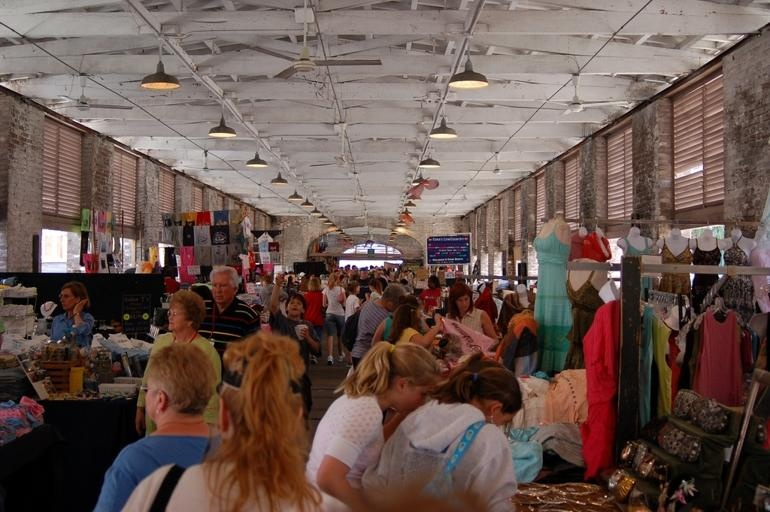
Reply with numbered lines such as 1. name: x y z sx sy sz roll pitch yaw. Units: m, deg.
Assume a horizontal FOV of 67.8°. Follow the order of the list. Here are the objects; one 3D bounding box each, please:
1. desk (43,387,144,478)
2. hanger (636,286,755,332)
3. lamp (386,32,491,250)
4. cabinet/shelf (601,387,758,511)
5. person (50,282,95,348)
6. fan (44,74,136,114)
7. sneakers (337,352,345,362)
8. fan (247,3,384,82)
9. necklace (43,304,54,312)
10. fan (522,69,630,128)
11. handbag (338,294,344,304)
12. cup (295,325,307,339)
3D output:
1. desk: -2.598 1.582 5.300 0.728 0.643 0.688 0 -3 0
2. hanger: 3.218 0.547 5.939 0.816 0.235 0.575 -2 1 8
3. lamp: 1.141 -1.973 11.552 0.800 0.746 4.897 7 -41 -5
4. cabinet/shelf: 2.205 1.464 4.344 0.458 0.925 0.699 19 -1 -24
5. person: -3.504 0.647 6.497 0.662 0.689 0.335 -3 -3 43
6. fan: -6.292 -3.287 12.100 1.330 0.496 1.296 0 -8 -9
7. sneakers: -0.859 1.985 11.290 0.085 0.107 0.256 1 8 6
8. fan: -1.038 -2.989 8.453 1.913 0.760 1.562 0 -6 6
9. necklace: -4.552 0.704 7.783 0.104 0.059 0.133 -1 -11 -18
10. fan: 3.587 -3.030 10.746 1.444 0.585 1.172 -10 20 -32
11. handbag: -0.870 0.846 11.456 0.133 0.179 0.193 2 -7 5
12. cup: -0.972 0.875 6.595 0.137 0.132 0.134 1 -3 0
